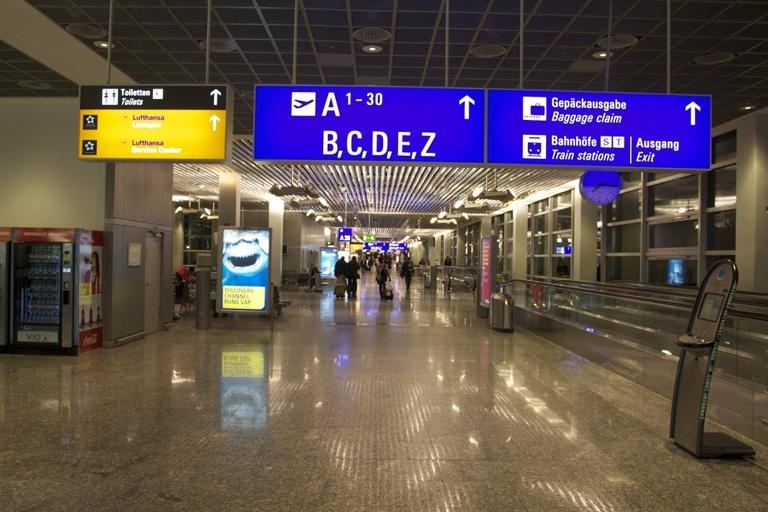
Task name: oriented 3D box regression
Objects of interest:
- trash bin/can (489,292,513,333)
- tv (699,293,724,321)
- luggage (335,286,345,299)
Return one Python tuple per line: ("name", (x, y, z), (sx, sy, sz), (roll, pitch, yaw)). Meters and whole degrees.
("trash bin/can", (3.014, 1.442, 14.121), (0.462, 0.910, 0.713), (-1, 12, -3))
("tv", (4.271, 0.677, 7.221), (0.052, 0.451, 0.406), (19, -3, -10))
("luggage", (-1.757, 1.444, 22.034), (0.424, 0.464, 0.462), (-1, -7, -1))
